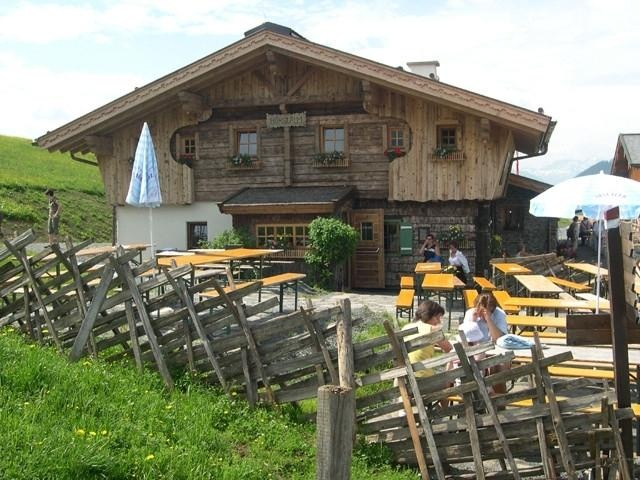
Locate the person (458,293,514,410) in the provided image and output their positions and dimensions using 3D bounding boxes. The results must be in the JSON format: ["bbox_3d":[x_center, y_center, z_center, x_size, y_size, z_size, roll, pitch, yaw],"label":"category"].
[{"bbox_3d":[2.610,1.655,14.847,0.740,1.591,1.562,-1,0,9],"label":"person"}]

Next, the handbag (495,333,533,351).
[{"bbox_3d":[2.938,1.552,14.281,0.543,0.207,0.345,-1,0,18],"label":"handbag"}]

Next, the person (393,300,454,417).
[{"bbox_3d":[1.656,1.739,14.390,0.728,1.621,3.029,-1,0,8],"label":"person"}]

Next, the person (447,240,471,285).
[{"bbox_3d":[3.434,0.714,23.390,0.531,1.399,0.407,0,16,-7],"label":"person"}]

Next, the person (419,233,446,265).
[{"bbox_3d":[2.995,0.219,25.145,0.574,0.754,1.326,-1,0,6],"label":"person"}]
